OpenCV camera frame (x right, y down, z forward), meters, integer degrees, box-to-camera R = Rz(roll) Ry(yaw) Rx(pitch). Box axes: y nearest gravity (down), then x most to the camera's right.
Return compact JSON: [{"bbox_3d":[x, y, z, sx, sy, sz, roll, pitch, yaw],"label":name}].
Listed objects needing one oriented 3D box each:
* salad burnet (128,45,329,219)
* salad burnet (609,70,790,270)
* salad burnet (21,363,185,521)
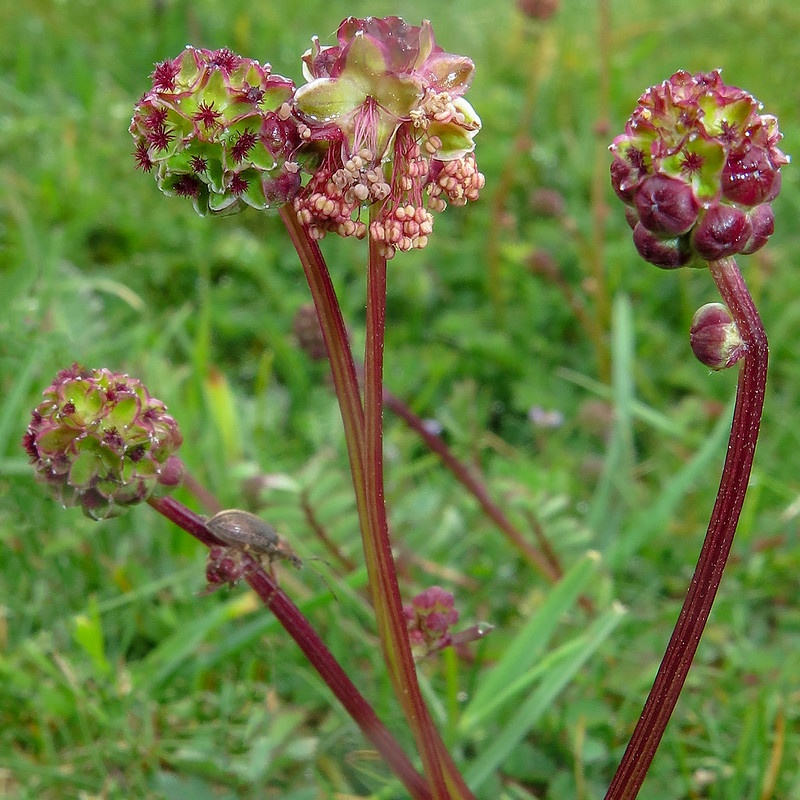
[{"bbox_3d":[-0.138,-0.219,0.802,0.107,0.074,0.119,13,24,43],"label":"salad burnet"},{"bbox_3d":[0.243,-0.170,0.842,0.141,0.135,0.157,-15,-1,31],"label":"salad burnet"},{"bbox_3d":[-0.236,0.029,0.882,0.125,0.120,0.091,-32,-5,7],"label":"salad burnet"}]
